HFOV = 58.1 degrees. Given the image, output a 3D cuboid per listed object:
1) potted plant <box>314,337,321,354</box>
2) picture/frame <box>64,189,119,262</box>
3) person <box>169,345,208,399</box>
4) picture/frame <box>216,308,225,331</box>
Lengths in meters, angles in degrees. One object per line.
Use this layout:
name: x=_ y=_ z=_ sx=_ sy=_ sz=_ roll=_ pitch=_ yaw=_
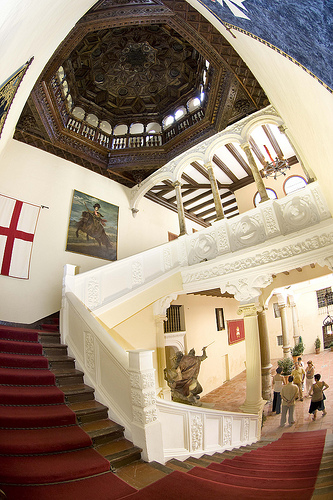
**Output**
potted plant: x=7.220 y=4.529 z=14.435 sx=0.317 sy=0.730 sz=0.557 roll=-12 pitch=-20 yaw=22
picture/frame: x=-2.325 y=-0.686 z=9.076 sx=0.096 sy=2.191 sz=1.935 roll=-20 pitch=-27 yaw=37
person: x=0.363 y=2.427 z=6.045 sx=0.787 sy=1.029 sz=0.617 roll=5 pitch=-5 yaw=-7
picture/frame: x=2.186 y=2.830 z=12.366 sx=0.105 sy=0.921 sz=0.833 roll=-16 pitch=-21 yaw=30
